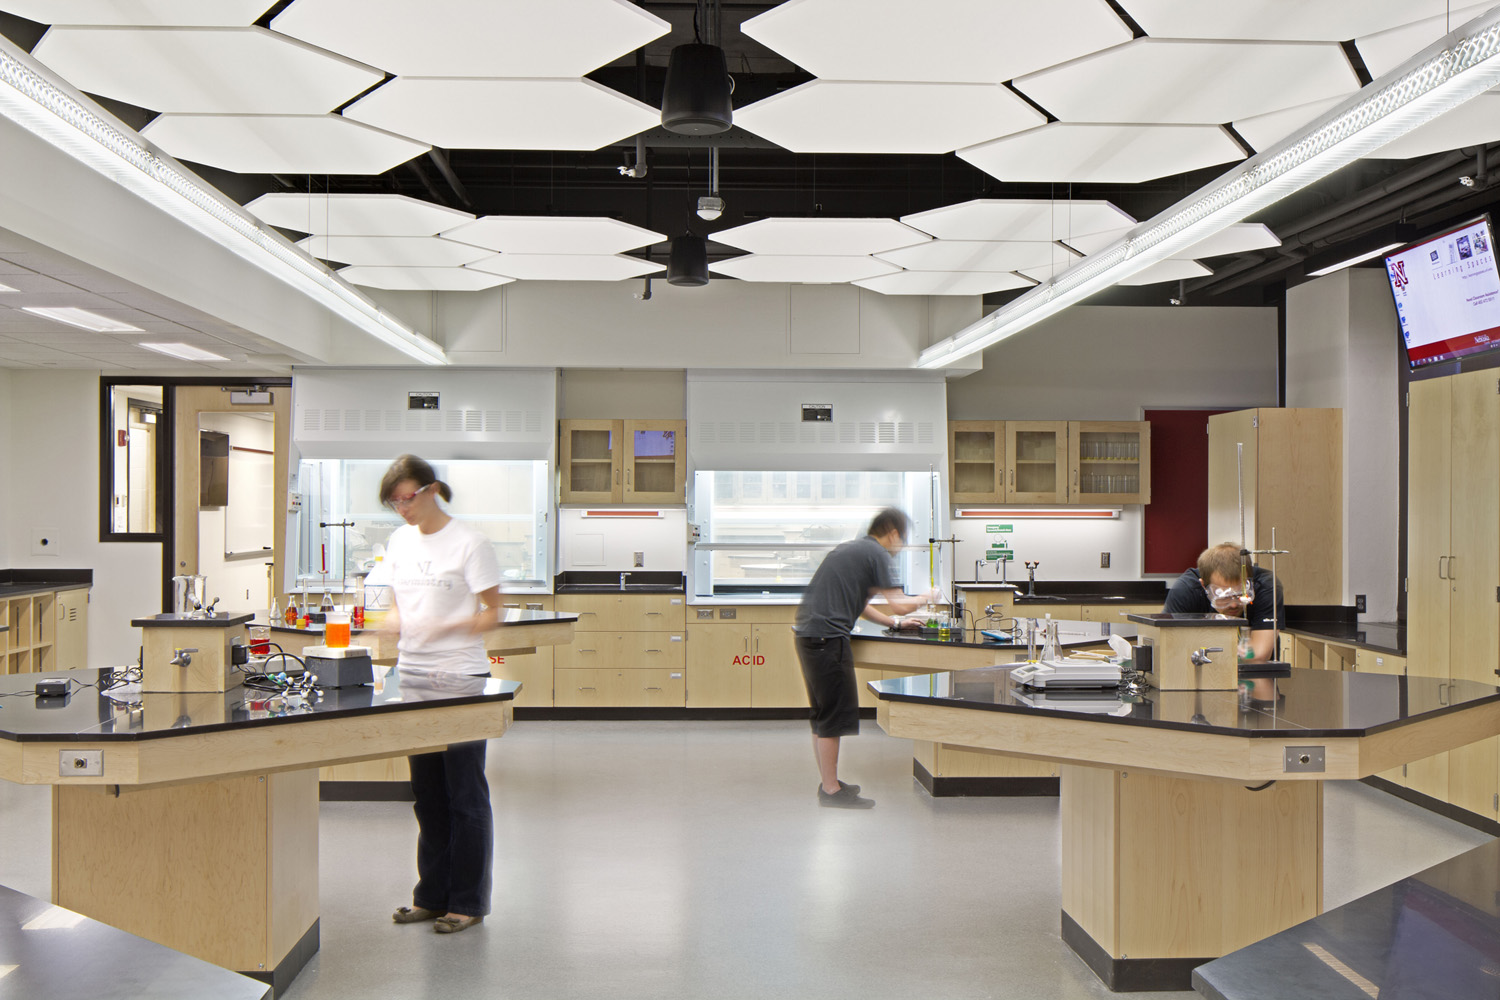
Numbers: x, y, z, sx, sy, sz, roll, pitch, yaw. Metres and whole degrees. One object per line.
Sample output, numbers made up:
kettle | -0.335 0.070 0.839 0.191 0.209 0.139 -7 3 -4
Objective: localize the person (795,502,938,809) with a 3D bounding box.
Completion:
person | 0.677 1.019 7.978 0.706 1.901 0.633 3 9 14

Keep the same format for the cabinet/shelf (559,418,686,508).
cabinet/shelf | -1.184 -0.307 10.573 1.224 0.705 0.412 -1 1 -33

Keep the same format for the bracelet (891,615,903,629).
bracelet | 0.934 0.796 7.891 0.076 0.063 0.071 -1 10 6

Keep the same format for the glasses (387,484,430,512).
glasses | -1.681 -0.024 6.134 0.154 0.048 0.148 -10 34 14

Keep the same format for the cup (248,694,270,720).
cup | -2.153 0.915 5.401 0.082 0.069 0.078 1 -6 0

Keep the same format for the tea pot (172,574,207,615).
tea pot | -2.672 0.459 5.865 0.126 0.156 0.172 -4 9 -28

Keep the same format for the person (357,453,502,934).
person | -1.580 0.967 6.218 0.513 2.377 0.622 -8 12 -42

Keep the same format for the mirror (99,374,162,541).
mirror | -5.193 -0.257 10.454 0.066 1.246 0.684 0 -5 22

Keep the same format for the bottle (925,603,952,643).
bottle | 1.179 0.775 7.678 0.182 0.295 0.172 0 -1 0

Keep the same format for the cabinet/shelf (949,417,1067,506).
cabinet/shelf | 2.258 -0.316 10.583 1.098 0.703 0.393 1 7 37

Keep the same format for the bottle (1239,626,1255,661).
bottle | 2.541 0.731 6.329 0.068 0.165 0.239 4 9 22

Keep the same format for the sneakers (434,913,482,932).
sneakers | -1.465 2.135 6.184 0.228 0.056 0.079 8 -6 -22

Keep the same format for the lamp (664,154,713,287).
lamp | -0.340 -1.950 7.996 0.242 0.966 0.202 -5 29 -30

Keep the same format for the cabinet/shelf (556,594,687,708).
cabinet/shelf | -0.968 1.275 10.303 1.282 0.964 0.469 -3 -6 26

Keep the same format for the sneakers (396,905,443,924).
sneakers | -1.704 2.138 6.322 0.242 0.077 0.090 5 -4 -10

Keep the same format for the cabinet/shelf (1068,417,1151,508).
cabinet/shelf | 3.024 -0.309 10.455 0.799 0.681 0.287 0 -4 -1

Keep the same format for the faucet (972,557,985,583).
faucet | 1.964 0.607 10.690 0.089 0.179 0.035 2 9 9

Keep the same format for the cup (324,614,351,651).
cup | -1.989 0.646 5.996 0.156 0.148 0.147 0 -8 0

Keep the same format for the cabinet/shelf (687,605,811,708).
cabinet/shelf | -0.037 1.269 9.903 1.130 0.856 0.417 0 -5 -1
